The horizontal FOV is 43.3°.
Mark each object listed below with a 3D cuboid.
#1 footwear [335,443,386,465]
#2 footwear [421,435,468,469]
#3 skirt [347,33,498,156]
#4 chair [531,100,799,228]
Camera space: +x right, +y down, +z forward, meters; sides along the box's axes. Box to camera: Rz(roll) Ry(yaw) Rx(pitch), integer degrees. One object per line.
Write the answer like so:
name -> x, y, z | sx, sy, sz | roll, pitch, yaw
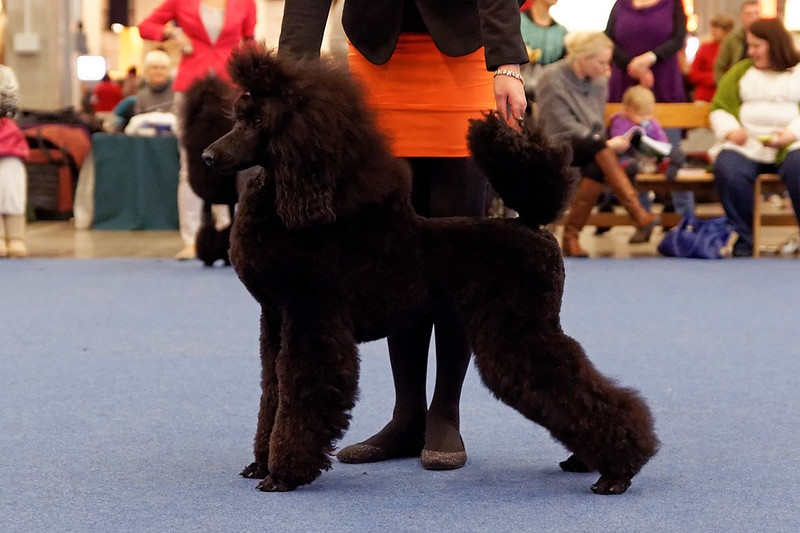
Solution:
footwear -> -0.167, 0.849, 4.567 | 0.177, 0.064, 0.090 | 2, -7, -11
footwear -> 0.208, 0.815, 4.665 | 0.212, 0.142, 0.359 | 0, 14, 6
skirt -> 0.090, -0.732, 4.651 | 0.950, 0.632, 0.514 | -1, -3, -3
chair -> 2.565, -1.055, 9.408 | 0.742, 1.067, 1.688 | -5, 1, -13
